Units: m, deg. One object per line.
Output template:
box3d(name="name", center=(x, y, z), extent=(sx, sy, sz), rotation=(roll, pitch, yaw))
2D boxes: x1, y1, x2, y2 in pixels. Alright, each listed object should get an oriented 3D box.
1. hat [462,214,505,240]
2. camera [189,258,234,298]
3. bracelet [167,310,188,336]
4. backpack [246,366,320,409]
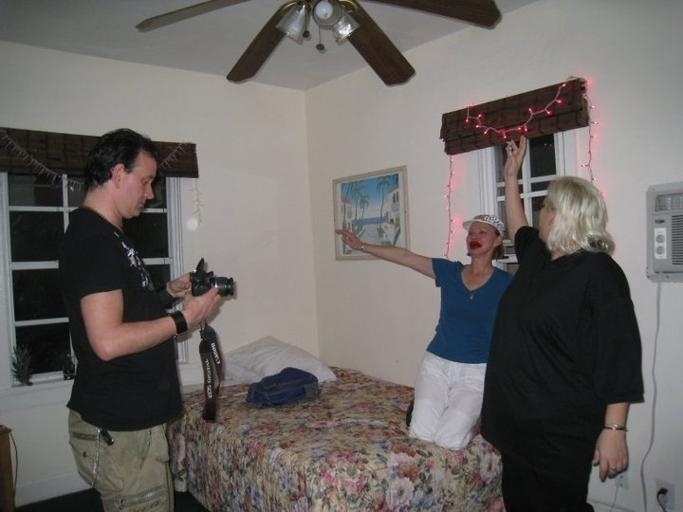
box3d(name="hat", center=(0.943, -0.170, 3.394), extent=(0.219, 0.075, 0.157), rotation=(17, -7, -25))
box3d(name="camera", center=(-0.665, 0.096, 2.680), extent=(0.198, 0.206, 0.190), rotation=(-3, 7, -16))
box3d(name="bracelet", center=(-0.702, 0.286, 2.318), extent=(0.096, 0.097, 0.088), rotation=(-35, 9, -19))
box3d(name="backpack", center=(-0.389, 0.904, 3.605), extent=(0.307, 0.124, 0.257), rotation=(-4, 2, -34))
